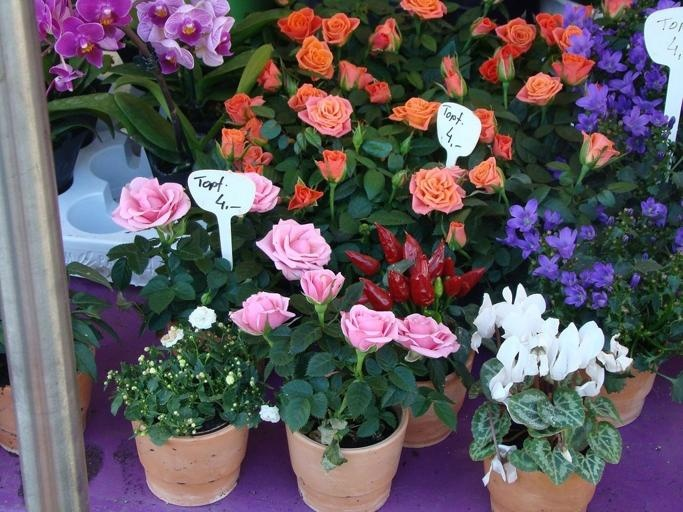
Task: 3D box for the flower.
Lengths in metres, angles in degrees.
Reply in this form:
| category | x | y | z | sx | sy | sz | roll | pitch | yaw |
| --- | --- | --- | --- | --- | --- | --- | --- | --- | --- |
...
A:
| category | x | y | z | sx | sy | sz | roll | pitch | yaw |
| --- | --- | --- | --- | --- | --- | --- | --- | --- | --- |
| flower | 0.095 | 0.005 | 1.310 | 1.090 | 0.365 | 0.883 | 1 | 74 | -1 |
